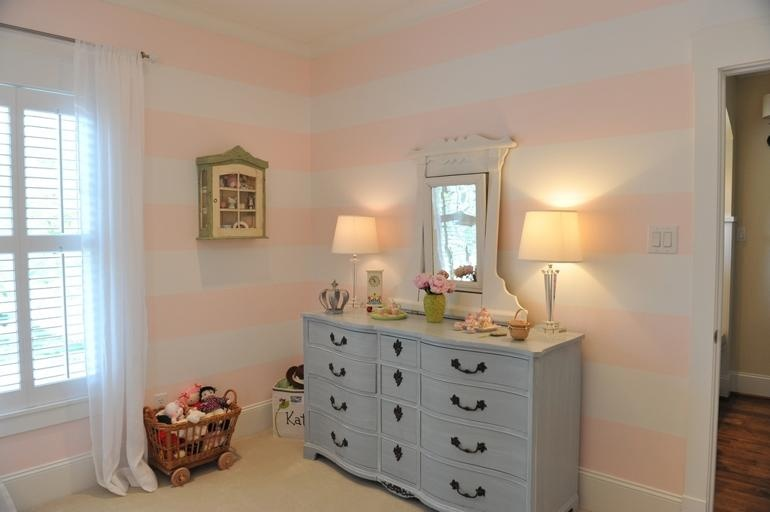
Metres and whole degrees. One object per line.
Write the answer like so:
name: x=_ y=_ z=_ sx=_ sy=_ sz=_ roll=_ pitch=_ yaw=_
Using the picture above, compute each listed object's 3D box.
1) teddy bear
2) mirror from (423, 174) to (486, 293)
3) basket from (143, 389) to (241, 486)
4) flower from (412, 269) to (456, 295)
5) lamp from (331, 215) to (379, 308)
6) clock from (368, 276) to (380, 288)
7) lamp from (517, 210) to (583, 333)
teddy bear: x=-1.509 y=1.273 z=4.100 sx=0.408 sy=0.235 sz=0.555 roll=-1 pitch=2 yaw=39
mirror: x=0.546 y=-0.182 z=4.105 sx=0.540 sy=0.911 sz=0.085 roll=3 pitch=5 yaw=38
basket: x=-1.551 y=1.445 z=4.191 sx=0.481 sy=0.567 sz=0.774 roll=0 pitch=-2 yaw=36
flower: x=0.402 y=0.192 z=3.928 sx=0.216 sy=0.125 sz=0.217 roll=6 pitch=10 yaw=41
lamp: x=-0.237 y=0.029 z=4.530 sx=0.372 sy=0.789 sz=0.431 roll=0 pitch=4 yaw=6
clock: x=-0.091 y=0.212 z=4.487 sx=0.089 sy=0.087 sz=0.021 roll=5 pitch=-1 yaw=14
lamp: x=1.177 y=0.096 z=3.633 sx=0.356 sy=0.849 sz=0.386 roll=4 pitch=5 yaw=45
